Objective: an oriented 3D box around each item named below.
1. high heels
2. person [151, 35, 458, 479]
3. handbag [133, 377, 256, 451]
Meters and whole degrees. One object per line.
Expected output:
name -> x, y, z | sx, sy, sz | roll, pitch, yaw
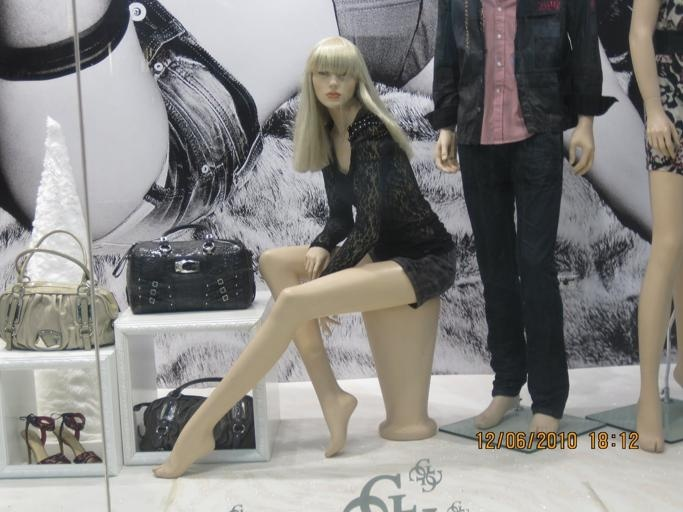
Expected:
high heels -> -1.103, 0.698, 2.550 | 0.403, 0.182, 0.143 | 2, -5, 33
person -> -0.047, -0.040, 2.537 | 1.055, 1.572, 0.373 | -5, 8, -20
handbag -> -0.569, 0.641, 2.584 | 0.357, 0.173, 0.277 | 1, -3, -9
